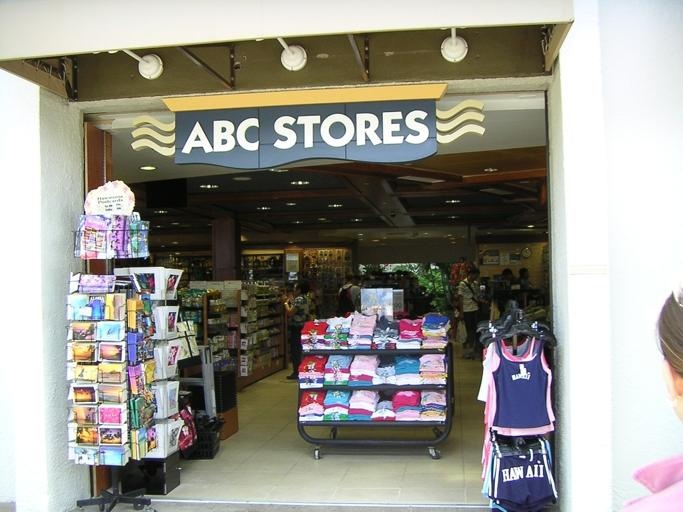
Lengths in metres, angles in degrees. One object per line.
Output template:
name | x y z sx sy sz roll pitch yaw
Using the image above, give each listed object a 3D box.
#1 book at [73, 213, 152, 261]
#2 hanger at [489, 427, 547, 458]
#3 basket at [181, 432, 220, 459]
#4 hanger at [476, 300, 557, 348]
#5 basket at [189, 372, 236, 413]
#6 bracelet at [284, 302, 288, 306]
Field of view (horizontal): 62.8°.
book | -1.993 -0.180 4.868 0.637 0.379 0.125 -1 -1 1
hanger | 1.407 1.466 4.386 0.307 0.081 0.282 -1 -4 9
basket | -1.486 2.048 6.039 0.251 0.148 0.353 0 -6 -2
hanger | 1.406 0.616 4.641 0.499 0.199 0.454 -2 8 7
basket | -1.505 1.591 6.509 0.382 0.540 0.664 -1 -2 18
bracelet | -1.148 1.006 11.679 0.066 0.054 0.058 -3 3 -11
